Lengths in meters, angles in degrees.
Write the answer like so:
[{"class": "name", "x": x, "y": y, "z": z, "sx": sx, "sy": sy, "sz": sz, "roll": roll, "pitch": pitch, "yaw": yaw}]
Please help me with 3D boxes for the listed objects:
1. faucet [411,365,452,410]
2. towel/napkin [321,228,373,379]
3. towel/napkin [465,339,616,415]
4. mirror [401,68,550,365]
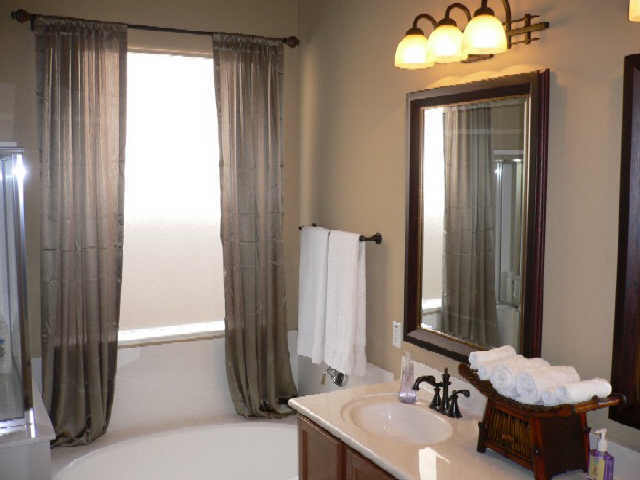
[{"class": "faucet", "x": 0.507, "y": 0.648, "z": 2.268, "sx": 0.179, "sy": 0.215, "sz": 0.078, "roll": 2, "pitch": 21, "yaw": 11}, {"class": "towel/napkin", "x": 0.131, "y": 0.360, "z": 2.911, "sx": 0.207, "sy": 0.809, "sz": 0.323, "roll": -13, "pitch": 12, "yaw": -41}, {"class": "towel/napkin", "x": 0.756, "y": 0.487, "z": 1.833, "sx": 0.240, "sy": 0.111, "sz": 0.467, "roll": -13, "pitch": 12, "yaw": -37}, {"class": "mirror", "x": 0.662, "y": -0.086, "z": 2.330, "sx": 0.195, "sy": 1.271, "sz": 0.769, "roll": -11, "pitch": 11, "yaw": -36}]
